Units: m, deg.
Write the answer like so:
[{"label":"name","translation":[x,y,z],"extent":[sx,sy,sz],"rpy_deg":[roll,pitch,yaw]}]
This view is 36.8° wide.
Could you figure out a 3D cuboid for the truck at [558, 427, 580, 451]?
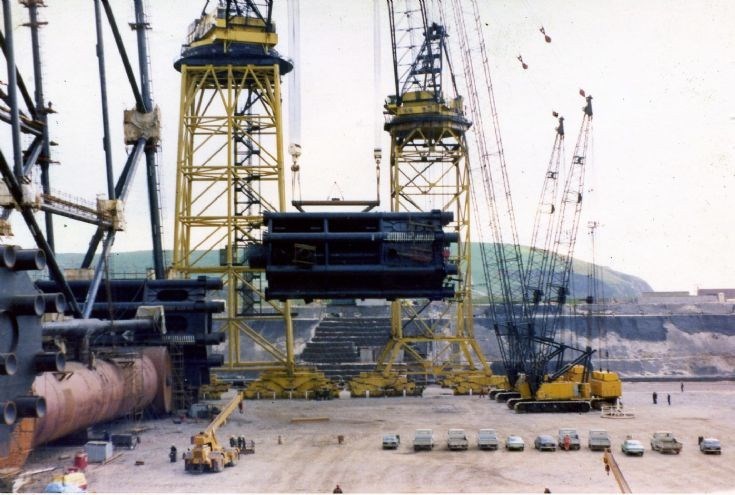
[{"label":"truck","translation":[16.659,15.919,91.421],"extent":[1.856,1.616,1.721],"rpy_deg":[0,-4,3]}]

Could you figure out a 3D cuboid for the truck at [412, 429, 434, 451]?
[{"label":"truck","translation":[4.545,15.919,91.318],"extent":[1.686,1.654,1.500],"rpy_deg":[0,-4,6]}]

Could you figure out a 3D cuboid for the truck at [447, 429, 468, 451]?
[{"label":"truck","translation":[7.321,15.816,91.368],"extent":[1.104,0.978,1.952],"rpy_deg":[0,1,1]}]

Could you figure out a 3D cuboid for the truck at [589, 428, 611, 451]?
[{"label":"truck","translation":[18.923,16.016,90.935],"extent":[1.511,1.521,1.012],"rpy_deg":[-2,-4,22]}]

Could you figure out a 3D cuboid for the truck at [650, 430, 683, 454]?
[{"label":"truck","translation":[24.327,16.052,90.983],"extent":[1.345,1.110,2.309],"rpy_deg":[0,3,2]}]
